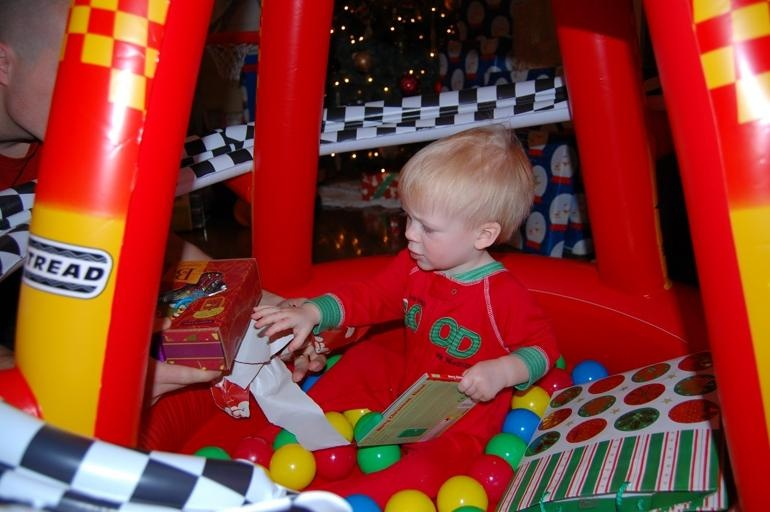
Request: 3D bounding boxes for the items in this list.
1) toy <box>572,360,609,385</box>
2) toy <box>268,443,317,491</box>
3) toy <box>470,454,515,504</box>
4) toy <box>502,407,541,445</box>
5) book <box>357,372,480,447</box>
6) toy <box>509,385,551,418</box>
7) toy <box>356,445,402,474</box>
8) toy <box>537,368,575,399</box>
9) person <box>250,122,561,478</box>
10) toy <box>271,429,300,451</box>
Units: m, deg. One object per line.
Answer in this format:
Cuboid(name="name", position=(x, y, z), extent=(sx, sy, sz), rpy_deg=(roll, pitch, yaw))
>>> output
Cuboid(name="toy", position=(0.491, 0.278, 1.373), extent=(0.064, 0.064, 0.073), rpy_deg=(-15, 5, -42))
Cuboid(name="toy", position=(-0.189, 0.429, 1.156), extent=(0.097, 0.082, 0.063), rpy_deg=(4, -4, -13))
Cuboid(name="toy", position=(0.204, 0.428, 1.147), extent=(0.089, 0.104, 0.089), rpy_deg=(1, 9, 4))
Cuboid(name="toy", position=(0.304, 0.374, 1.271), extent=(0.064, 0.075, 0.065), rpy_deg=(3, 45, -3))
Cuboid(name="book", position=(0.073, 0.314, 1.147), extent=(0.211, 0.029, 0.278), rpy_deg=(-16, -28, -37))
Cuboid(name="toy", position=(0.344, 0.340, 1.340), extent=(0.066, 0.079, 0.069), rpy_deg=(28, 38, 0))
Cuboid(name="toy", position=(-0.014, 0.422, 1.183), extent=(0.061, 0.062, 0.073), rpy_deg=(-34, -8, 4))
Cuboid(name="toy", position=(0.417, 0.303, 1.380), extent=(0.066, 0.080, 0.067), rpy_deg=(5, 6, -1))
Cuboid(name="person", position=(0.074, 0.050, 1.458), extent=(0.686, 0.835, 0.701), rpy_deg=(-10, 27, -16))
Cuboid(name="toy", position=(-0.222, 0.399, 1.240), extent=(0.042, 0.056, 0.043), rpy_deg=(-4, 31, 1))
